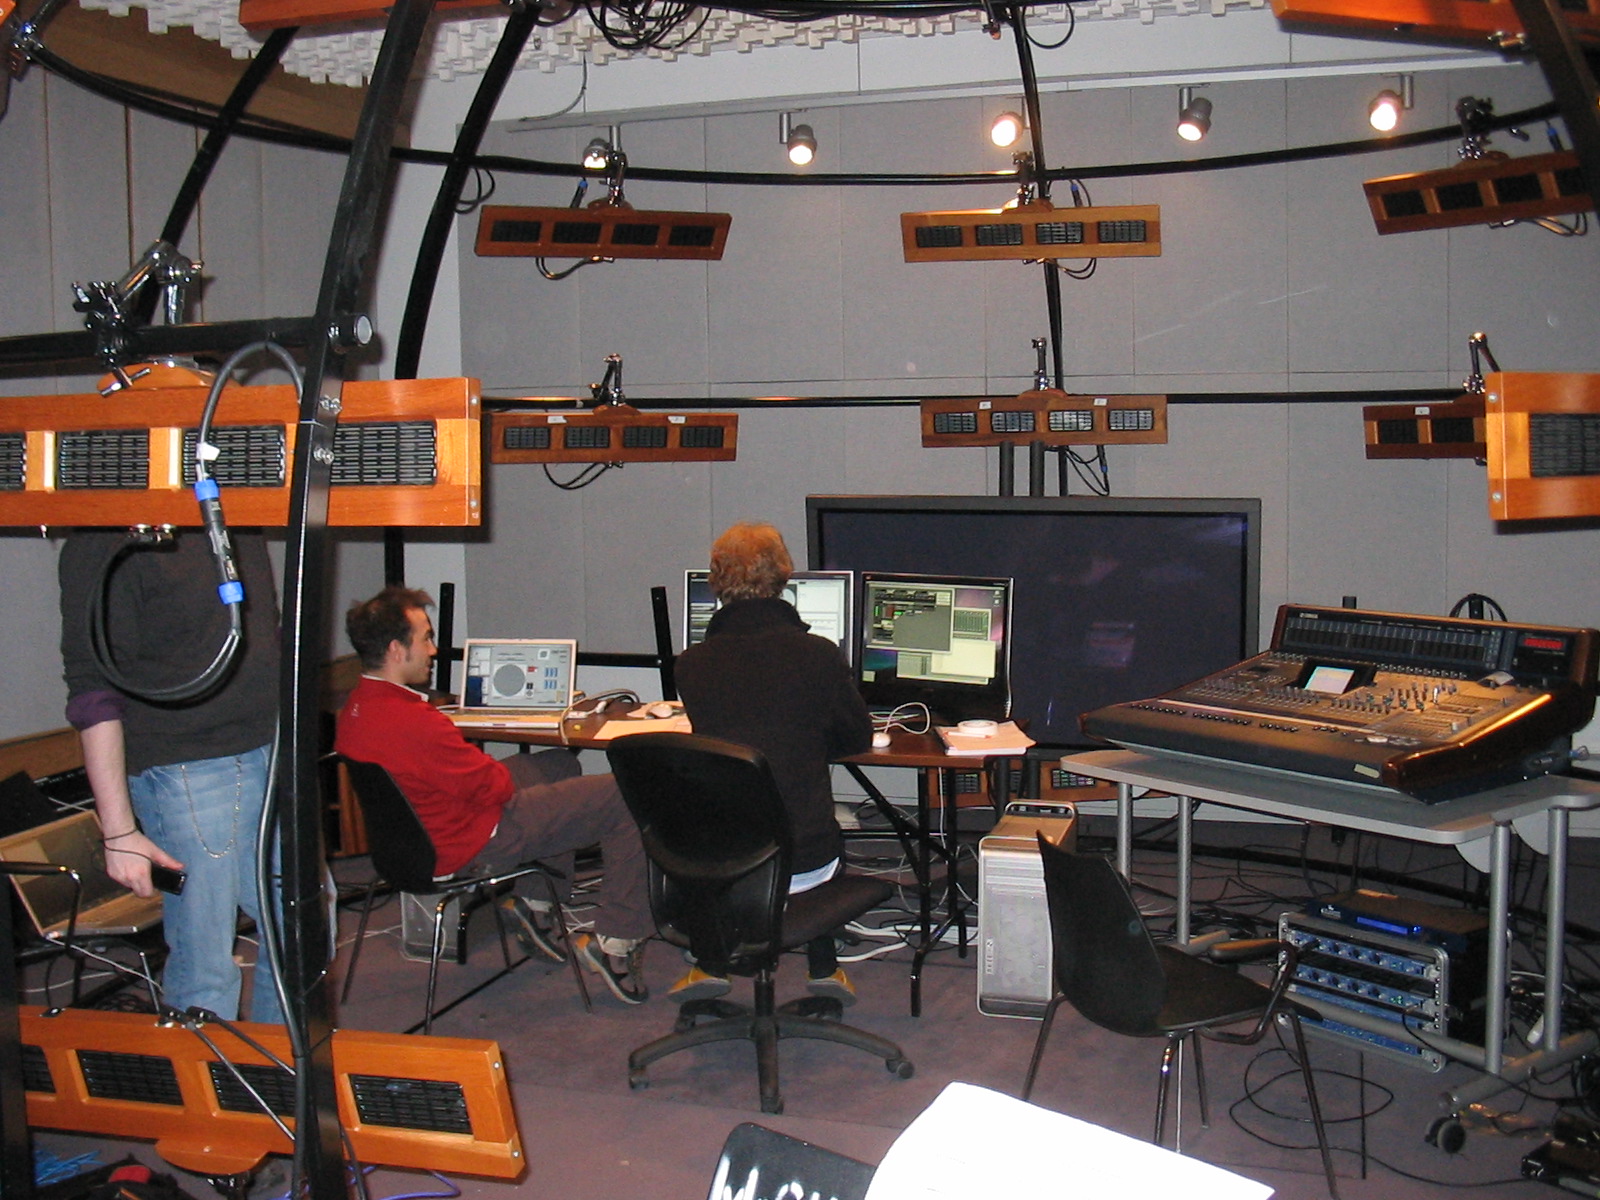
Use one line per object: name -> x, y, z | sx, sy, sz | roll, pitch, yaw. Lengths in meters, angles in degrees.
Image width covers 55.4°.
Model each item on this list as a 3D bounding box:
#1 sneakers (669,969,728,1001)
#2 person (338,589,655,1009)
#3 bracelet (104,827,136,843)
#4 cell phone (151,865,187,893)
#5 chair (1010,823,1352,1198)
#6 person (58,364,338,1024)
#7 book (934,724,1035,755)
sneakers -> -0.387, 1.228, 4.865 | 0.193, 0.088, 0.090 | -2, -3, 32
person -> -1.126, 0.639, 5.057 | 1.019, 1.363, 0.737 | -1, 3, -27
bracelet -> -1.734, 0.569, 3.672 | 0.069, 0.034, 0.025 | 0, 3, -20
cell phone -> -1.627, 0.684, 3.703 | 0.068, 0.081, 0.107 | -1, 3, -28
chair -> 1.039, 1.139, 4.179 | 0.807, 1.231, 0.804 | -6, 6, -26
person -> -1.629, 0.292, 3.725 | 0.522, 1.663, 0.868 | 0, 3, -21
book -> 0.590, 0.470, 5.147 | 0.308, 0.077, 0.360 | 1, 3, -5
